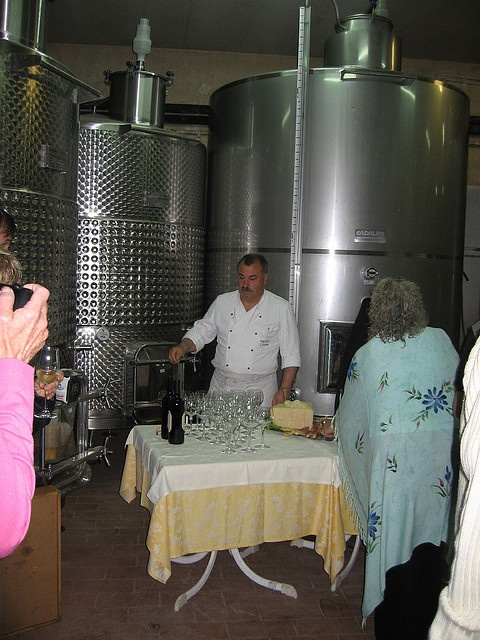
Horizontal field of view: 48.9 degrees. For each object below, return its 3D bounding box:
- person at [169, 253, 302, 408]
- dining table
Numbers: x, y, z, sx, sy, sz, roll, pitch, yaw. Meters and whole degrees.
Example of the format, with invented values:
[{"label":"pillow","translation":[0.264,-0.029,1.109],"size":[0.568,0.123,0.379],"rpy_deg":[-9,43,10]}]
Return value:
[{"label":"person","translation":[-0.005,0.341,3.620],"size":[0.802,1.591,0.545],"rpy_deg":[3,2,13]},{"label":"dining table","translation":[0.007,0.732,2.345],"size":[0.794,0.580,0.822],"rpy_deg":[3,-2,-11]}]
